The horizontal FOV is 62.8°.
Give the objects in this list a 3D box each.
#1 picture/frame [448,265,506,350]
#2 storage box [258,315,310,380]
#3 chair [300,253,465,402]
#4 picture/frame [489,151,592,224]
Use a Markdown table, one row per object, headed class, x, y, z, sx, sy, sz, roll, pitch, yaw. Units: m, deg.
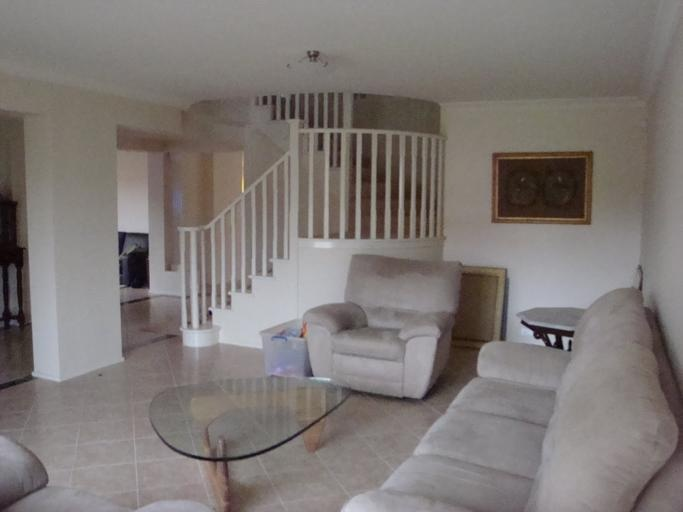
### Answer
| class | x | y | z | sx | sy | sz | roll | pitch | yaw |
| --- | --- | --- | --- | --- | --- | --- | --- | --- | --- |
| picture/frame | 1.482 | 0.564 | 6.164 | 0.061 | 0.914 | 0.767 | 6 | 0 | -32 |
| storage box | -0.475 | 0.848 | 4.942 | 0.323 | 0.275 | 0.520 | -5 | -2 | 21 |
| chair | 0.402 | 0.559 | 4.858 | 1.220 | 1.131 | 1.155 | 2 | 2 | 27 |
| picture/frame | 2.196 | -0.756 | 6.035 | 0.775 | 0.608 | 0.029 | 1 | 3 | 17 |
